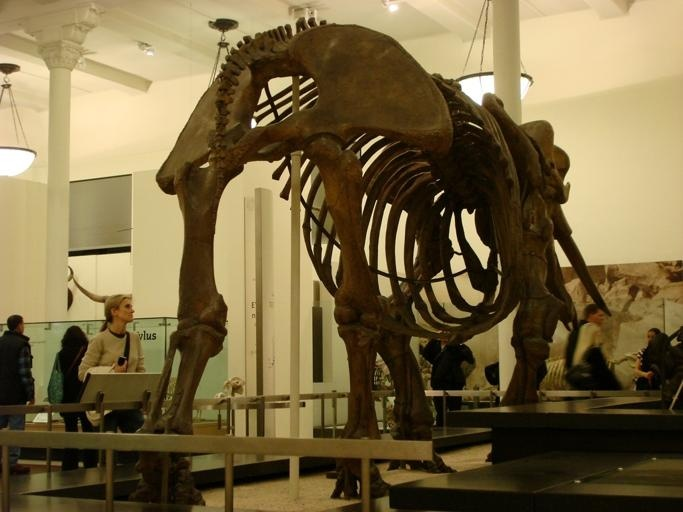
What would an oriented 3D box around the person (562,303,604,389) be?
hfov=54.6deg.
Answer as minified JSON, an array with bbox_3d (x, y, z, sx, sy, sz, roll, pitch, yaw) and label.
[{"bbox_3d":[3.096,1.164,8.470,0.492,1.078,0.778,-4,-7,18],"label":"person"}]

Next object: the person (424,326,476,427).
[{"bbox_3d":[1.500,1.792,9.395,0.760,1.193,3.375,-3,-7,10],"label":"person"}]

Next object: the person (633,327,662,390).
[{"bbox_3d":[4.125,1.403,8.933,0.365,0.838,1.502,-4,-7,24],"label":"person"}]

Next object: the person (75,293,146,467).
[{"bbox_3d":[-2.086,0.983,6.048,0.565,1.272,0.708,1,-7,-22],"label":"person"}]
